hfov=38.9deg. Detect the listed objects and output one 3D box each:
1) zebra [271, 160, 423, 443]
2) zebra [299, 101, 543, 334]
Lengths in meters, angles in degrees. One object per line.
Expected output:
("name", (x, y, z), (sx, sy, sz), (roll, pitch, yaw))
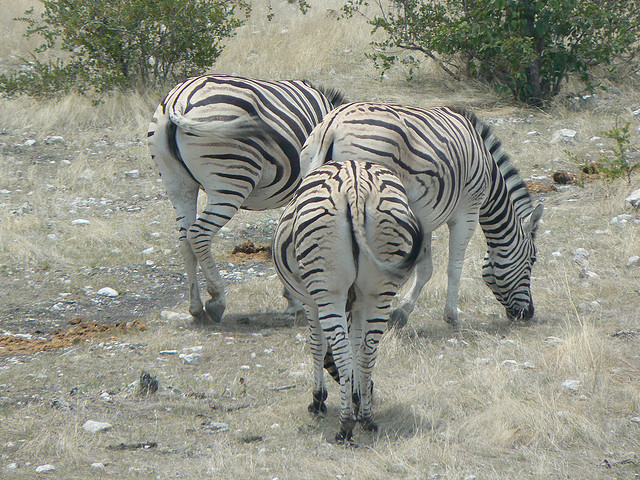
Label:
("zebra", (0.344, 0.632, 9.795), (1.448, 2.805, 0.890), (-10, 17, -17))
("zebra", (1.409, -0.264, 11.540), (1.432, 2.901, 4.762), (3, -3, 42))
